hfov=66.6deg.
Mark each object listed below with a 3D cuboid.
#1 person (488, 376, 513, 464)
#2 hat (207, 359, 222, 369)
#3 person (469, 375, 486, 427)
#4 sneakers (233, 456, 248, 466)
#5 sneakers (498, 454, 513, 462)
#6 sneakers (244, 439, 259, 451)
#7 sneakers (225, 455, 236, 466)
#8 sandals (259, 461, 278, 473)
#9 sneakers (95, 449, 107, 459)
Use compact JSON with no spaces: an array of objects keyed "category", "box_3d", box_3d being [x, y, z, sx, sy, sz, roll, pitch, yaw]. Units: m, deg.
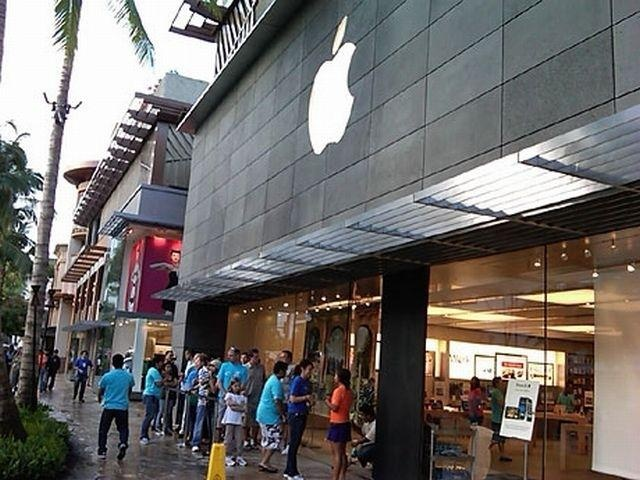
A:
[{"category":"person","box_3d":[2.867,2.830,7.758,0.124,1.268,0.347,9,-14,-23]},{"category":"hat","box_3d":[-2.591,2.978,11.934,0.219,0.317,0.285,-3,-13,16]},{"category":"person","box_3d":[2.603,2.664,8.109,0.114,0.751,0.302,10,-14,-26]},{"category":"sneakers","box_3d":[-1.692,4.642,10.306,0.309,0.160,0.153,-1,-10,21]},{"category":"sneakers","box_3d":[2.904,3.401,7.609,0.160,0.074,0.057,-9,-15,37]},{"category":"sneakers","box_3d":[-1.694,5.111,12.214,0.223,0.273,0.617,13,-23,-28]},{"category":"sneakers","box_3d":[-1.867,4.596,10.222,0.209,0.164,0.530,5,-14,-6]},{"category":"sandals","box_3d":[-1.045,4.557,9.847,0.335,0.145,0.182,2,-4,-10]},{"category":"sneakers","box_3d":[-4.434,4.315,9.890,0.196,0.173,0.197,6,-13,-9]}]
